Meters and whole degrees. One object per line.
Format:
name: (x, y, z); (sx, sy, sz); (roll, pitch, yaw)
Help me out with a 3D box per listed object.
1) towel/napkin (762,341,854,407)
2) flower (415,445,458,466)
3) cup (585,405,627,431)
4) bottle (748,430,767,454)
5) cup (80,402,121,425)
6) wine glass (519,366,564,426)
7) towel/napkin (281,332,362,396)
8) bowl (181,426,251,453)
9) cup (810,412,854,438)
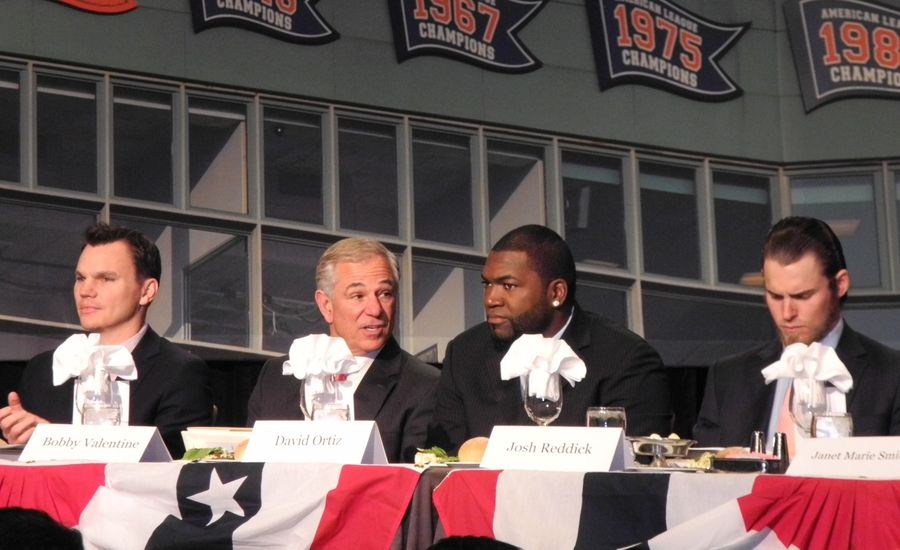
towel/napkin: (1.726, 0.488, 8.427); (0.387, 0.318, 0.146); (-6, -7, 1)
flower: (-0.080, 0.909, 8.420); (0.138, 0.053, 0.130); (1, 1, -32)
cup: (0.758, 0.718, 8.454); (0.149, 0.117, 0.137); (1, -5, 0)
bottle: (1.478, 0.832, 8.397); (0.114, 0.128, 0.101); (1, -5, -4)
cup: (-1.763, 0.713, 8.631); (0.143, 0.072, 0.131); (0, -6, 0)
wine glass: (0.442, 0.650, 8.565); (0.208, 0.263, 0.333); (1, -12, 19)
towel/napkin: (-0.658, 0.488, 8.932); (0.444, 0.366, 0.149); (0, 0, -3)
bowl: (-1.165, 0.851, 8.778); (0.401, 0.121, 0.164); (-3, -13, 29)
cup: (1.826, 0.736, 8.286); (0.188, 0.115, 0.058); (3, -12, 4)
